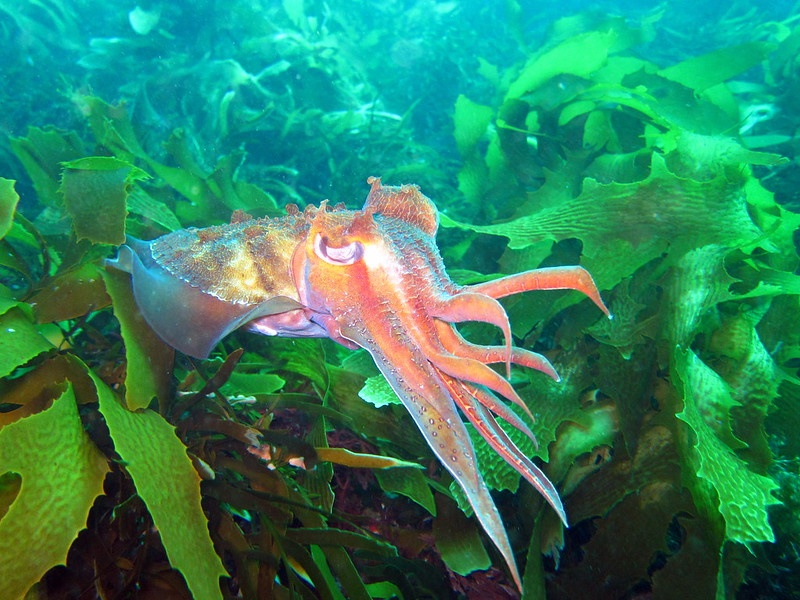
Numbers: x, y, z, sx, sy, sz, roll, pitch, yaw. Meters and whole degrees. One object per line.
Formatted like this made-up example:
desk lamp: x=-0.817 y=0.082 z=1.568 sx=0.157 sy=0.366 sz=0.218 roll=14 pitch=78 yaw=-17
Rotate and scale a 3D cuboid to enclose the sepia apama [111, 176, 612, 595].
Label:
sepia apama: x=-0.328 y=0.039 z=3.250 sx=2.320 sy=1.162 sz=1.090 roll=23 pitch=14 yaw=23
